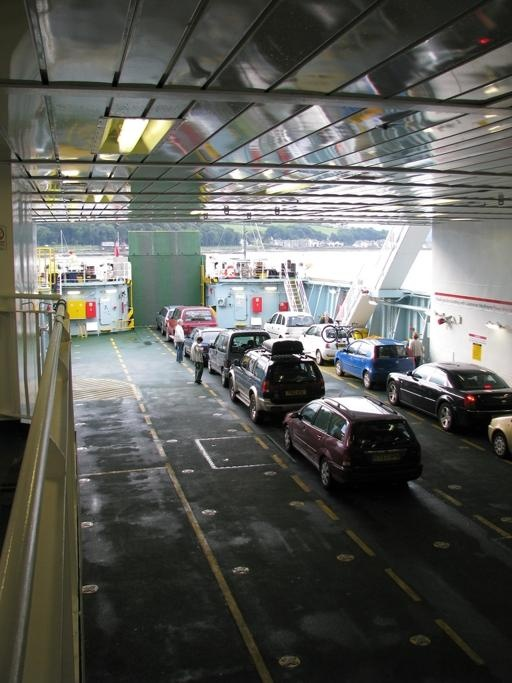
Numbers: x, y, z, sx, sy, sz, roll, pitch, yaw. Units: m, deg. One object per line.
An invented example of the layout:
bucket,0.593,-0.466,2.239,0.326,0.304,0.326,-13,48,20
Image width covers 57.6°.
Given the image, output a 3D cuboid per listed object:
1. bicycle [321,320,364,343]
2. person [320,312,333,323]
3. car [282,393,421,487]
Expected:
bicycle,4.855,-0.405,25.243,2.578,1.470,1.239,-2,21,-4
person,4.490,-1.589,30.572,0.656,0.317,0.898,7,20,-4
car,2.243,2.356,11.264,1.936,1.780,2.804,-8,14,-21
